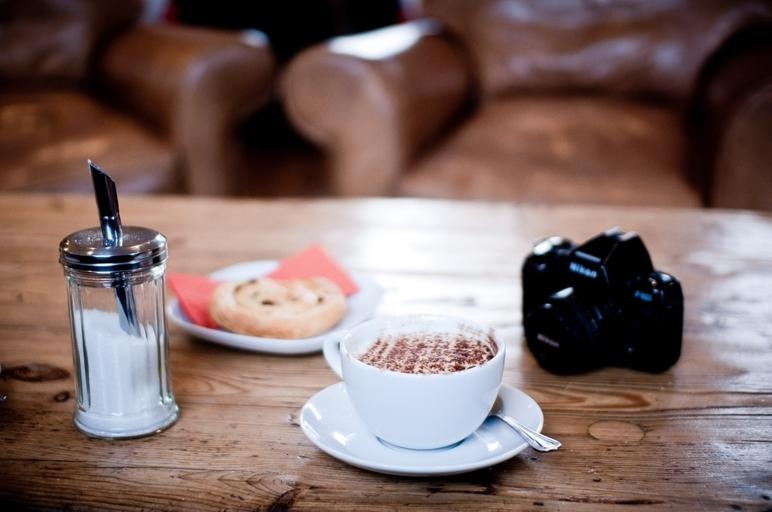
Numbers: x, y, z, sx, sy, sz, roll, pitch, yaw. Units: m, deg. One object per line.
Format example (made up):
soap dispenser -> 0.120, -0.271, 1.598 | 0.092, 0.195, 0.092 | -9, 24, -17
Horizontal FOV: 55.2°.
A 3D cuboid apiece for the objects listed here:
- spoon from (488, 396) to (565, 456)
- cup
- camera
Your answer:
spoon -> 0.172, 0.210, 0.910 | 0.036, 0.011, 0.114 | -21, 15, -17
cup -> 0.030, 0.147, 0.945 | 0.215, 0.089, 0.167 | 4, 12, 24
camera -> 0.295, 0.063, 1.105 | 0.199, 0.166, 0.258 | -18, 24, -25
